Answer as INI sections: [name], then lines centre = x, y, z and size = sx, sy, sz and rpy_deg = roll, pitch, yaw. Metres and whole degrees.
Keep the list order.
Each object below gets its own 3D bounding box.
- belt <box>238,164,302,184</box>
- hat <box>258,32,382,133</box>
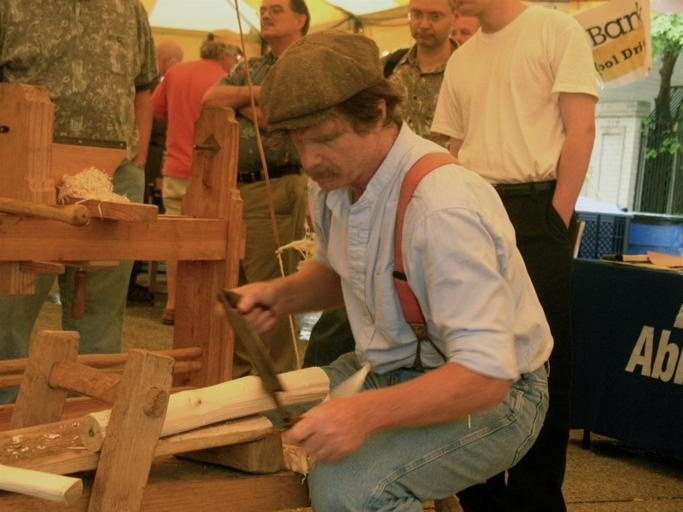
[belt]
centre = -0.467, -0.528, 4.579
size = 0.234, 0.059, 0.174
rpy_deg = -10, 4, 5
[hat]
centre = -0.061, -0.566, 2.384
size = 0.388, 0.192, 0.282
rpy_deg = -35, 27, -15
